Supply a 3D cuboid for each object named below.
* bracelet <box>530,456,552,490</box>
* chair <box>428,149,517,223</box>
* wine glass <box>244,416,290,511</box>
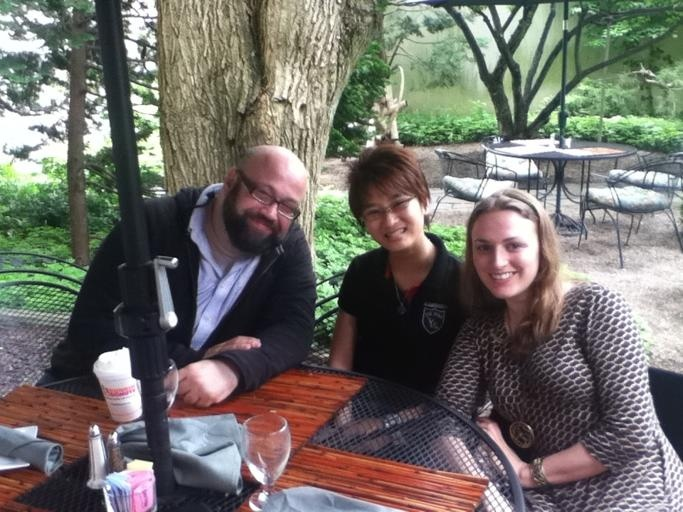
[{"bbox_3d":[0.806,0.888,2.180,0.094,0.098,0.088,7,-7,46],"label":"bracelet"},{"bbox_3d":[1.654,-0.870,7.158,0.817,0.766,0.784,14,3,-7],"label":"chair"},{"bbox_3d":[-0.236,0.652,1.707,0.154,0.238,0.282,0,8,-5],"label":"wine glass"}]
